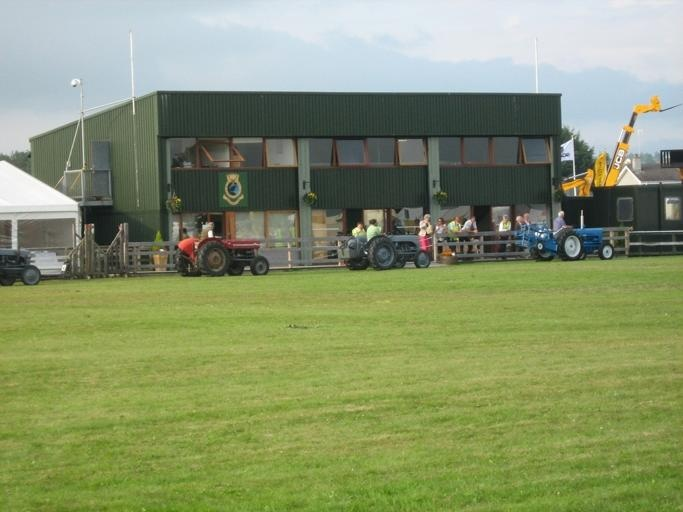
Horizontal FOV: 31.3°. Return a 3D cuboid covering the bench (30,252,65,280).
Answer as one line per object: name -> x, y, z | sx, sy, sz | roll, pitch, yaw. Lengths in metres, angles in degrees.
bench -> -8.391, 0.273, 34.920 | 1.174, 0.696, 0.784 | 2, -7, -19

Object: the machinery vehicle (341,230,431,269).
machinery vehicle -> 1.276, -0.106, 35.366 | 2.077, 0.949, 1.143 | -5, 5, -32

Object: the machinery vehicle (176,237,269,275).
machinery vehicle -> -3.233, 0.053, 33.669 | 1.956, 0.891, 1.233 | -4, 4, -34
